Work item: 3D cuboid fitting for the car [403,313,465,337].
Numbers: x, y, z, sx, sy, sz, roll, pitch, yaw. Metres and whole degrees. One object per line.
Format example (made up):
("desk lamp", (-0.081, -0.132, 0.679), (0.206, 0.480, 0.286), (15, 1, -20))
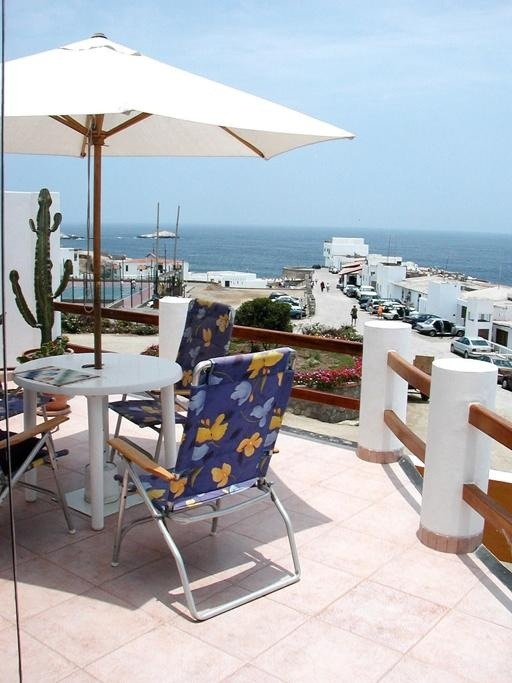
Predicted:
("car", (14.765, -1.355, 45.409), (2.621, 1.571, 5.925), (2, 5, 0))

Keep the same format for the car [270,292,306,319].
("car", (3.214, -3.710, 49.599), (3.682, 1.786, 2.209), (-1, 19, -1))

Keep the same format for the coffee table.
("coffee table", (-0.825, 0.429, 2.922), (0.863, 0.740, 0.827), (23, 29, 38))
